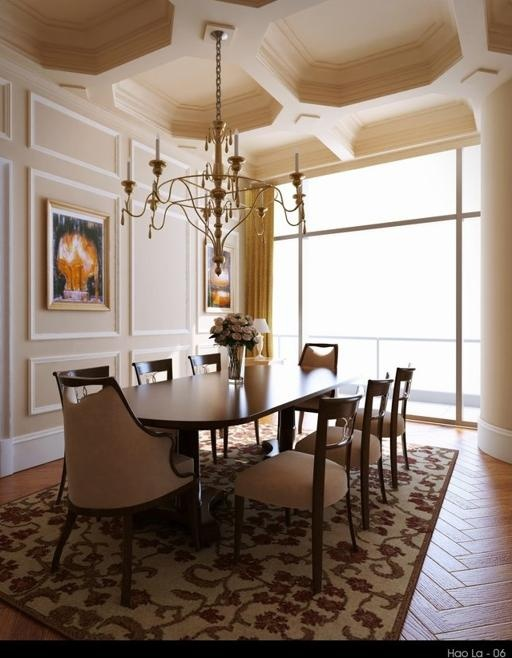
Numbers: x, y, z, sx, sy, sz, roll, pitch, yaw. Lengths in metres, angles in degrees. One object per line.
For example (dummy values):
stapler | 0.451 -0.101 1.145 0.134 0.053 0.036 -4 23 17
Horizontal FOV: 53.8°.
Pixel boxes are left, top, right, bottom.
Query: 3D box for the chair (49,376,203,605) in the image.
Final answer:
chair | -0.568 0.622 2.205 0.469 0.834 0.482 -1 3 29

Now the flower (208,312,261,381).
flower | -0.133 0.107 3.332 0.366 0.500 0.378 0 1 26

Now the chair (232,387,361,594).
chair | 0.215 0.661 2.349 0.499 0.782 0.622 1 3 26

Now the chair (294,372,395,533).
chair | 0.566 0.618 2.869 0.375 0.520 0.384 -7 -6 -15
